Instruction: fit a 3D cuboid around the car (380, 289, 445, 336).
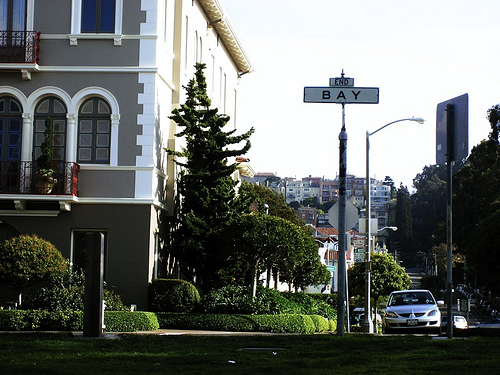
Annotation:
[{"bbox_3d":[5.924,4.648,36.451,2.068,1.277,2.182,2,-1,8],"label":"car"}]
